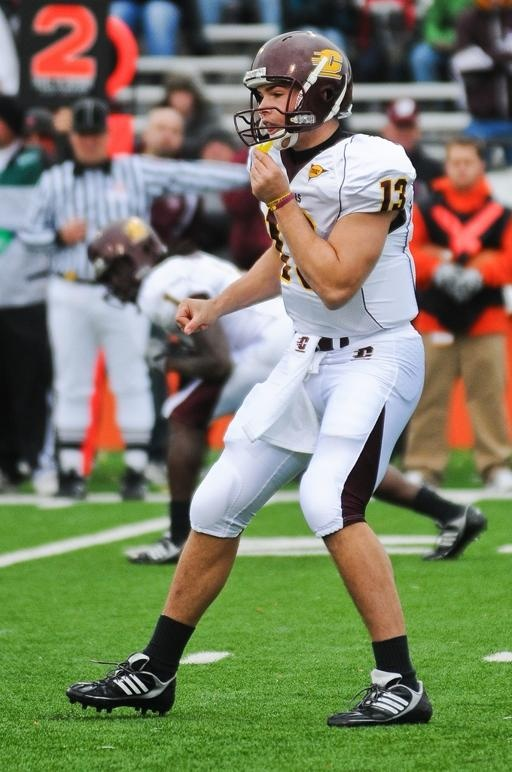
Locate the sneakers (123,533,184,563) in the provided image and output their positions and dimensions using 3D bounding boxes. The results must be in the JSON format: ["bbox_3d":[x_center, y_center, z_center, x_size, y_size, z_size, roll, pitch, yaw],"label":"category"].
[{"bbox_3d":[-0.392,0.654,3.646,0.287,0.101,0.089,1,0,9],"label":"sneakers"}]

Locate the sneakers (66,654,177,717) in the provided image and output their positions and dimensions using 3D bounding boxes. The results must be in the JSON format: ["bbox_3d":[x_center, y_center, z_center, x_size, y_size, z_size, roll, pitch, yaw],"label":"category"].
[{"bbox_3d":[-0.262,0.627,1.908,0.297,0.130,0.089,6,-11,-3],"label":"sneakers"}]

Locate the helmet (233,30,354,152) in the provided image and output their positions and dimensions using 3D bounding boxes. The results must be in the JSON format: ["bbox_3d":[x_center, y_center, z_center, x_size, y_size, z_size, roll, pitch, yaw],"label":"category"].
[{"bbox_3d":[0.128,-0.630,2.012,0.332,0.236,0.244,-5,6,-25],"label":"helmet"}]

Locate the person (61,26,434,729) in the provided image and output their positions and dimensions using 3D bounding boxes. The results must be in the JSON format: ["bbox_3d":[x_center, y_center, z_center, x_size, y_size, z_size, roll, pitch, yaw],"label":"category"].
[{"bbox_3d":[0.035,-0.056,1.933,0.636,1.410,0.468,-2,0,12],"label":"person"}]

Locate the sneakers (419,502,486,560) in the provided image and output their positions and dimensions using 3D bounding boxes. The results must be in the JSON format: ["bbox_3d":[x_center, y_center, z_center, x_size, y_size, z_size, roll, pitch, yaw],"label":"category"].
[{"bbox_3d":[0.682,0.514,3.021,0.122,0.269,0.096,46,14,-9],"label":"sneakers"}]

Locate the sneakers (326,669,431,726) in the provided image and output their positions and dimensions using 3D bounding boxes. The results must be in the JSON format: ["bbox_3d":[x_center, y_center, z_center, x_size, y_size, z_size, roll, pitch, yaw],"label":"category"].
[{"bbox_3d":[0.252,0.605,1.767,0.260,0.102,0.081,1,-8,3],"label":"sneakers"}]
